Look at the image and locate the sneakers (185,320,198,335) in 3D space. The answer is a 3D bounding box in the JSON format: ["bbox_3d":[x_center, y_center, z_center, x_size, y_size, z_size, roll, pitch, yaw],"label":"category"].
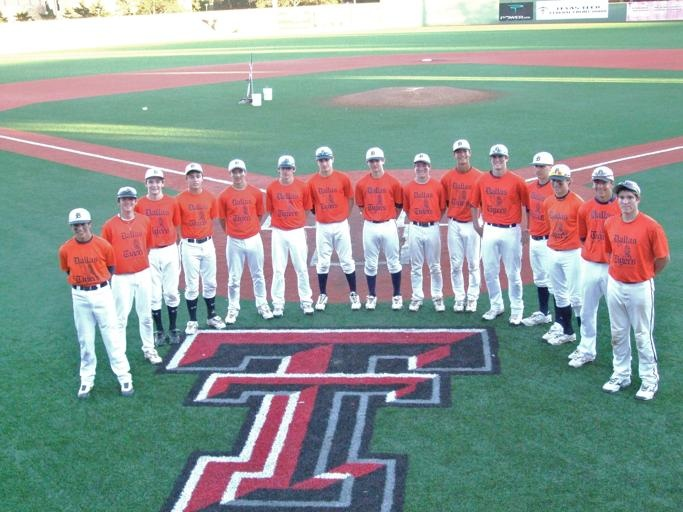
[{"bbox_3d":[-2.640,1.252,16.687,0.238,0.209,0.354,-9,13,-6],"label":"sneakers"}]

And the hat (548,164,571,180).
[{"bbox_3d":[3.682,-1.411,15.822,0.272,0.181,0.371,5,15,34],"label":"hat"}]

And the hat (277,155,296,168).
[{"bbox_3d":[-0.989,-1.695,17.113,0.273,0.233,0.400,-9,13,-6],"label":"hat"}]

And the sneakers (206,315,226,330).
[{"bbox_3d":[-2.194,1.195,16.802,0.361,0.144,0.164,10,41,28],"label":"sneakers"}]

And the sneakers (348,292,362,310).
[{"bbox_3d":[0.254,0.840,17.295,0.152,0.151,0.386,-4,15,-2],"label":"sneakers"}]

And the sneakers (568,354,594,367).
[{"bbox_3d":[3.871,1.709,15.380,0.550,0.221,0.162,-4,60,-3],"label":"sneakers"}]

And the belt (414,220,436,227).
[{"bbox_3d":[1.517,-0.575,17.075,0.384,0.101,0.101,-4,14,10],"label":"belt"}]

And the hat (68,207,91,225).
[{"bbox_3d":[-4.097,-0.615,14.855,0.416,0.241,0.502,-5,6,-18],"label":"hat"}]

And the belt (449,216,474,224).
[{"bbox_3d":[2.133,-0.638,16.988,0.455,0.137,0.113,1,16,30],"label":"belt"}]

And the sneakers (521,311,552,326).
[{"bbox_3d":[3.427,1.109,16.554,0.590,0.214,0.195,-3,39,0],"label":"sneakers"}]

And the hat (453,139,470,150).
[{"bbox_3d":[2.167,-1.995,16.992,0.245,0.178,0.374,-3,13,15],"label":"hat"}]

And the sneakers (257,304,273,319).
[{"bbox_3d":[-1.388,1.005,17.165,0.147,0.156,0.386,-41,28,-10],"label":"sneakers"}]

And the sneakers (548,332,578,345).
[{"bbox_3d":[3.722,1.413,15.979,0.509,0.183,0.158,-2,33,0],"label":"sneakers"}]

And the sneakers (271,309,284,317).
[{"bbox_3d":[-1.154,1.041,17.127,0.151,0.132,0.346,-1,2,-2],"label":"sneakers"}]

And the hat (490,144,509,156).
[{"bbox_3d":[2.771,-1.848,16.606,0.271,0.196,0.404,-3,13,15],"label":"hat"}]

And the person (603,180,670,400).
[{"bbox_3d":[4.465,0.545,14.414,0.930,3.372,0.746,-2,17,25],"label":"person"}]

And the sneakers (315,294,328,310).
[{"bbox_3d":[-0.361,0.872,17.324,0.146,0.138,0.355,1,18,7],"label":"sneakers"}]

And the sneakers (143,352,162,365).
[{"bbox_3d":[-3.123,1.719,15.786,0.358,0.146,0.135,13,56,29],"label":"sneakers"}]

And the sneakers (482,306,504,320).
[{"bbox_3d":[2.729,1.025,16.807,0.491,0.154,0.203,-10,-6,5],"label":"sneakers"}]

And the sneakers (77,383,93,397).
[{"bbox_3d":[-4.070,2.159,15.024,0.120,0.117,0.297,6,9,-7],"label":"sneakers"}]

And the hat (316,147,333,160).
[{"bbox_3d":[-0.299,-1.869,17.291,0.392,0.215,0.483,0,9,6],"label":"hat"}]

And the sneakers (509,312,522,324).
[{"bbox_3d":[3.059,1.118,16.534,0.235,0.207,0.122,-6,15,7],"label":"sneakers"}]

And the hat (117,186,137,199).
[{"bbox_3d":[-3.502,-1.025,15.450,0.343,0.152,0.442,-1,1,-17],"label":"hat"}]

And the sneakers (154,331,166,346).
[{"bbox_3d":[-3.129,1.440,16.327,0.144,0.120,0.302,-1,15,-11],"label":"sneakers"}]
